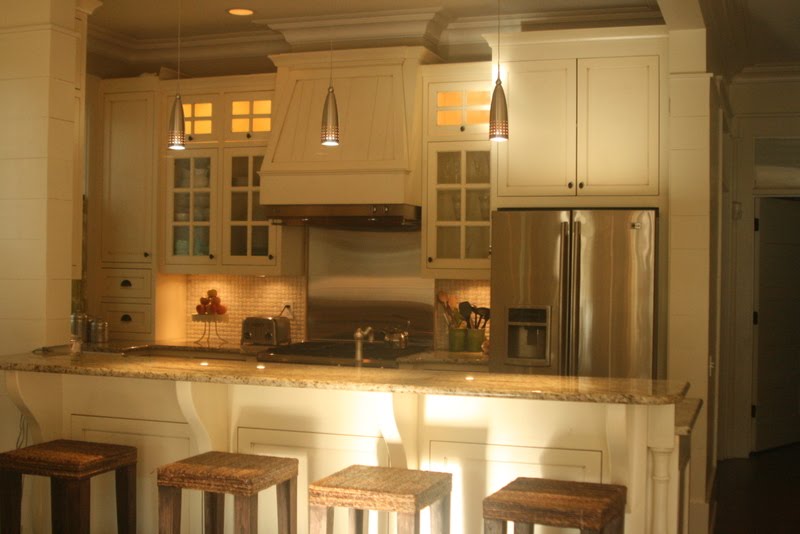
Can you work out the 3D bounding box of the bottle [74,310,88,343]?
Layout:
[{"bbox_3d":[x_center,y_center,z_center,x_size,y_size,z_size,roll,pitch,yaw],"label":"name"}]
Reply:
[{"bbox_3d":[-2.791,0.533,6.995,0.131,0.268,0.349,0,1,-18],"label":"bottle"}]

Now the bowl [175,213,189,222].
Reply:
[{"bbox_3d":[-2.013,-0.448,7.364,0.087,0.055,0.088,0,-3,0],"label":"bowl"}]

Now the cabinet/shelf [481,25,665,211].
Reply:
[{"bbox_3d":[1.401,-1.139,6.197,1.453,1.434,0.577,0,1,15],"label":"cabinet/shelf"}]

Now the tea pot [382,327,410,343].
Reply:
[{"bbox_3d":[-0.039,0.605,7.141,0.182,0.126,0.130,0,1,12],"label":"tea pot"}]

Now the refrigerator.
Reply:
[{"bbox_3d":[1.340,0.195,5.975,1.236,1.799,0.654,0,-1,16],"label":"refrigerator"}]

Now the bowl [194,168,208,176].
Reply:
[{"bbox_3d":[-1.823,-0.858,7.341,0.069,0.044,0.071,0,1,0],"label":"bowl"}]

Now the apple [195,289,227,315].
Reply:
[{"bbox_3d":[-1.753,0.335,7.445,0.261,0.227,0.197,0,1,-12],"label":"apple"}]

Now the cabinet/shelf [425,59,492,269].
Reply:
[{"bbox_3d":[0.530,-0.763,6.885,0.672,1.660,0.457,0,2,0],"label":"cabinet/shelf"}]

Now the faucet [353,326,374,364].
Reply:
[{"bbox_3d":[-0.287,0.591,6.589,0.095,0.254,0.525,5,11,10],"label":"faucet"}]

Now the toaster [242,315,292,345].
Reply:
[{"bbox_3d":[-1.214,0.585,7.318,0.450,0.255,0.256,0,1,-10],"label":"toaster"}]
